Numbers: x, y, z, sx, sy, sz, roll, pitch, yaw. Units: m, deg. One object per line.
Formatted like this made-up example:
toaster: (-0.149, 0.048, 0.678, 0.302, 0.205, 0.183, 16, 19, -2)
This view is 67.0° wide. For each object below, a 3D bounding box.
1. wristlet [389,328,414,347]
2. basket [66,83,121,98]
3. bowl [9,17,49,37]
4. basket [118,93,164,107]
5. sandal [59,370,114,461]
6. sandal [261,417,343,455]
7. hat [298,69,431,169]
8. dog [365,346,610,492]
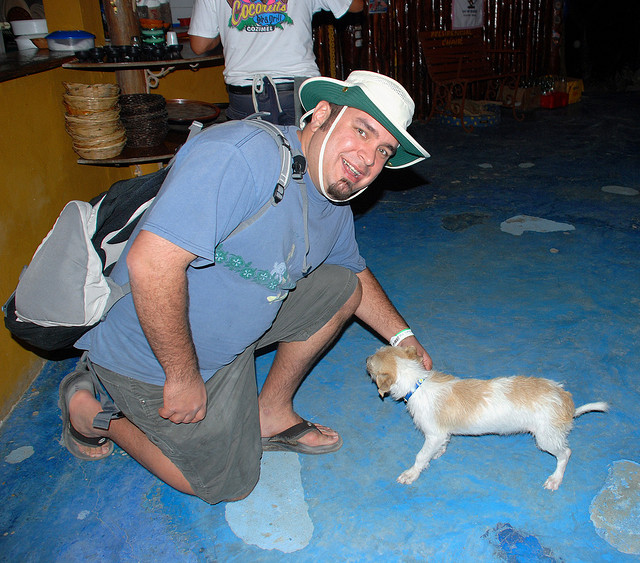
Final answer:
wristlet: (0.457, 0.318, 2.710, 0.124, 0.098, 0.103, -6, 26, 1)
basket: (-1.823, -1.533, 3.911, 0.397, 0.115, 0.217, -17, 28, -22)
bowl: (-3.252, -2.932, 5.568, 0.626, 0.181, 0.322, 14, 32, 35)
basket: (-1.590, -1.621, 4.327, 0.229, 0.060, 0.237, 8, 16, 38)
sandal: (-1.304, 0.712, 2.707, 0.238, 0.531, 0.144, -12, 20, 8)
sandal: (-0.101, 0.890, 2.766, 0.460, 0.145, 0.181, 0, 26, 4)
hat: (0.192, -0.675, 2.133, 0.515, 0.459, 0.447, -6, 26, 0)
dog: (0.766, 0.694, 2.513, 1.017, 0.634, 0.394, -2, 27, 8)
